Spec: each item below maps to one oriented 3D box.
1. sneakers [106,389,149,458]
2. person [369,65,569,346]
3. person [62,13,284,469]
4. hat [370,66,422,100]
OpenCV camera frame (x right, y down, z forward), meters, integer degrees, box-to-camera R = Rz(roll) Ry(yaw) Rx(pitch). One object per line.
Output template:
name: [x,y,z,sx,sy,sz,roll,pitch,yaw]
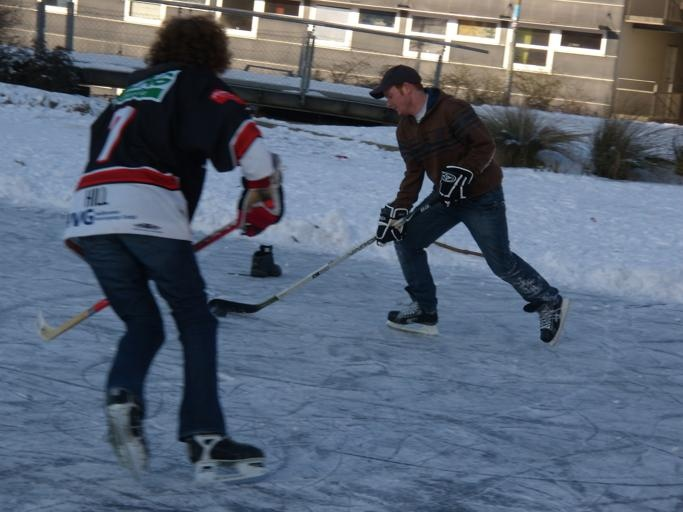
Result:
sneakers: [-1.226,0.971,5.067,0.235,0.434,0.159,5,15,-23]
person: [0.885,-0.386,6.774,1.776,2.109,0.524,10,13,6]
person: [-1.026,0.049,5.120,1.198,2.394,0.875,10,13,-7]
hat: [0.402,-1.336,6.735,0.272,0.260,0.326,0,12,-35]
